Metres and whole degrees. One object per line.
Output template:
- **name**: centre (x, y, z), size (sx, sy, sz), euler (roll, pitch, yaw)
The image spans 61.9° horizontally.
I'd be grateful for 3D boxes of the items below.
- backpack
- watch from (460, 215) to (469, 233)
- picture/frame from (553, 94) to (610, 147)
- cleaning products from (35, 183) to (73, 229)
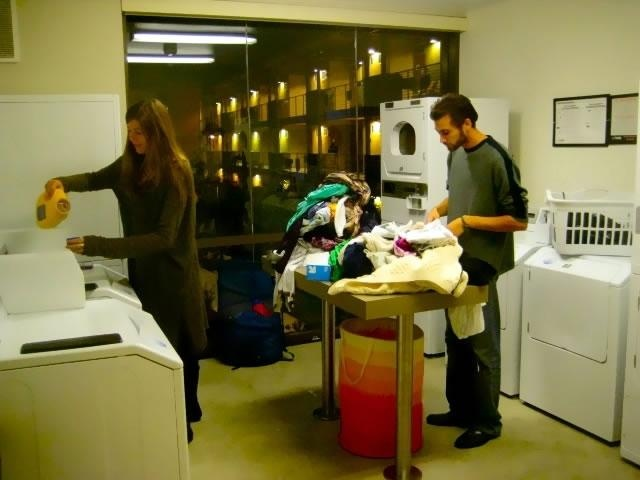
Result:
- **backpack**: centre (-0.505, 0.797, 4.379), size (0.453, 0.412, 0.413), euler (-4, 2, 22)
- **watch**: centre (0.831, -0.091, 3.066), size (0.051, 0.094, 0.120), euler (2, 12, 15)
- **picture/frame**: centre (1.972, -0.899, 3.990), size (0.043, 0.332, 0.423), euler (-1, 5, -23)
- **cleaning products**: centre (-1.399, -0.166, 2.795), size (0.147, 0.204, 0.247), euler (-8, 13, -30)
